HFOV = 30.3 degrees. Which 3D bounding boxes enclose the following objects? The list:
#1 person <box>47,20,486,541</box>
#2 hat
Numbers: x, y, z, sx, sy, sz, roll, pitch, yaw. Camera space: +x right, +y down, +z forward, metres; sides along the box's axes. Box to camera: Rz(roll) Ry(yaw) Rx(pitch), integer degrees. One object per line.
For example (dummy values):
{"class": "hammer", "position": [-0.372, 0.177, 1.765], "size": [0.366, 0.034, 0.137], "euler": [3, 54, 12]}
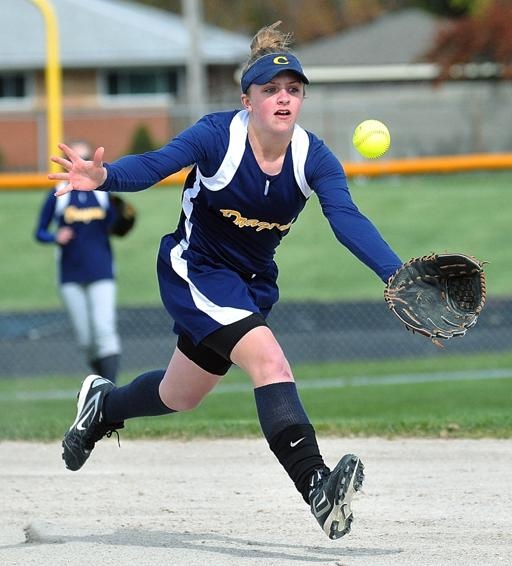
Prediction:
{"class": "person", "position": [-0.013, -0.073, 3.416], "size": [1.638, 1.826, 0.914], "euler": [-2, 5, 11]}
{"class": "hat", "position": [0.061, -0.748, 3.348], "size": [0.241, 0.138, 0.195], "euler": [-2, 4, 1]}
